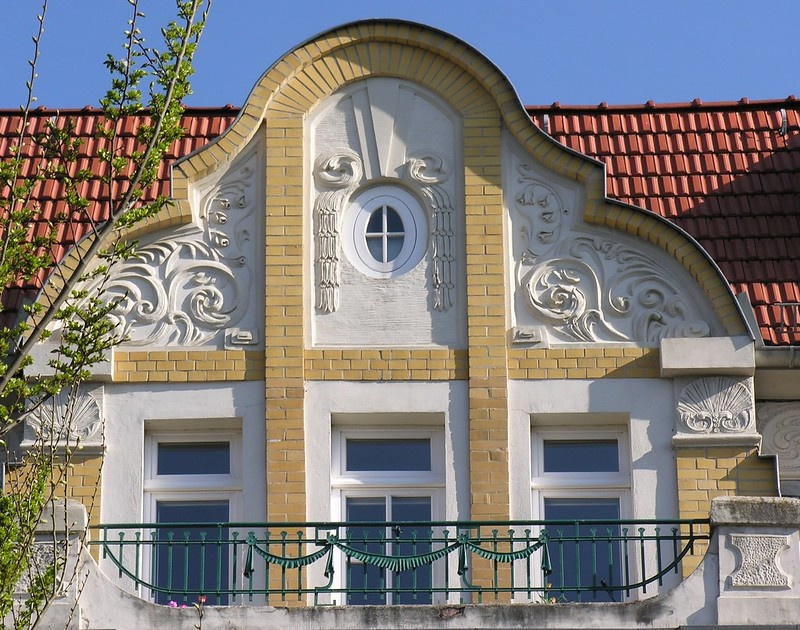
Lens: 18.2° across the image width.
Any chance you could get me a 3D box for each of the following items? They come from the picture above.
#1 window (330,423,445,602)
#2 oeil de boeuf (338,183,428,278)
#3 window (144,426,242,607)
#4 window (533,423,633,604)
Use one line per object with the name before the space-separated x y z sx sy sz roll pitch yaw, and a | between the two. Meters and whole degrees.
window | -0.082 2.026 24.430 1.086 1.978 1.522 -1 -18 -2
oeil de boeuf | -0.168 -0.802 25.176 0.939 1.092 0.064 -1 -13 1
window | -2.004 2.009 24.408 0.940 1.899 1.227 1 -18 -5
window | 1.786 1.997 24.342 0.944 1.940 1.315 -2 -18 3
